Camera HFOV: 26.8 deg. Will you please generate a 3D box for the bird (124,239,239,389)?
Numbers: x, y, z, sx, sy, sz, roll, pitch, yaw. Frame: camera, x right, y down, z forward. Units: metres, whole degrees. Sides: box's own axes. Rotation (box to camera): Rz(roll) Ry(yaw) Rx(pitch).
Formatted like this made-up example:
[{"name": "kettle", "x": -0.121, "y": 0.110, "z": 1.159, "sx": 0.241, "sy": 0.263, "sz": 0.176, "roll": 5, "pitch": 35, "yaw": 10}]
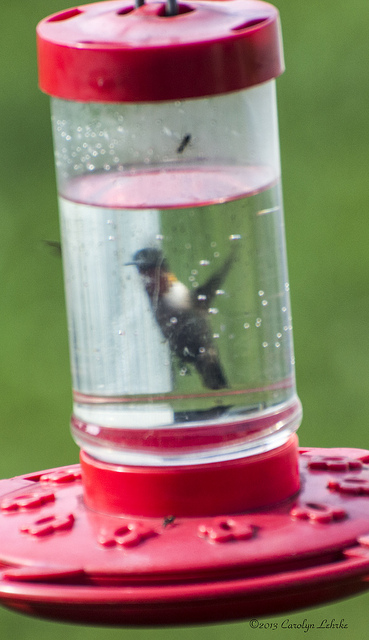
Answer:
[{"name": "bird", "x": 0.006, "y": -0.013, "z": 0.648, "sx": 0.098, "sy": 0.106, "sz": 0.111, "roll": -5, "pitch": -14, "yaw": 39}]
